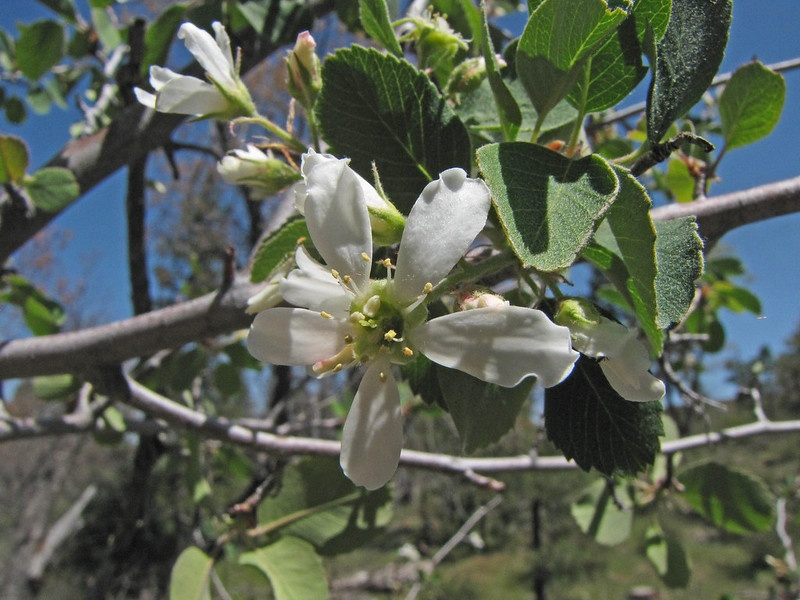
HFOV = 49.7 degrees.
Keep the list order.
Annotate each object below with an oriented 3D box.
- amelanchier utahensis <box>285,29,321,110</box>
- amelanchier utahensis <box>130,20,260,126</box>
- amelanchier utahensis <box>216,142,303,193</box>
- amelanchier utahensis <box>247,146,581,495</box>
[{"bbox_3d":[-0.311,-0.748,2.821,0.116,0.221,0.099,26,37,28],"label":"amelanchier utahensis"},{"bbox_3d":[-0.677,-0.685,2.872,0.370,0.167,0.401,-5,14,-44],"label":"amelanchier utahensis"},{"bbox_3d":[-0.484,-0.443,3.001,0.238,0.142,0.156,8,46,1],"label":"amelanchier utahensis"},{"bbox_3d":[-0.046,0.123,2.752,0.940,0.548,0.969,2,21,-16],"label":"amelanchier utahensis"}]
